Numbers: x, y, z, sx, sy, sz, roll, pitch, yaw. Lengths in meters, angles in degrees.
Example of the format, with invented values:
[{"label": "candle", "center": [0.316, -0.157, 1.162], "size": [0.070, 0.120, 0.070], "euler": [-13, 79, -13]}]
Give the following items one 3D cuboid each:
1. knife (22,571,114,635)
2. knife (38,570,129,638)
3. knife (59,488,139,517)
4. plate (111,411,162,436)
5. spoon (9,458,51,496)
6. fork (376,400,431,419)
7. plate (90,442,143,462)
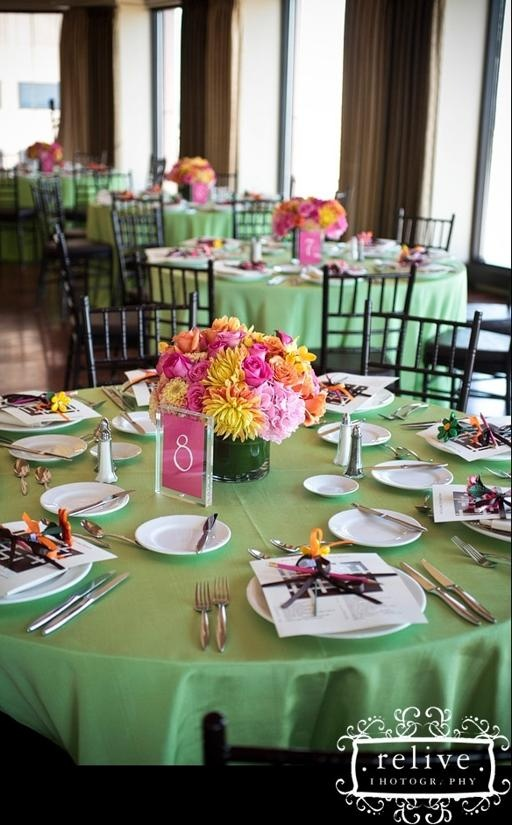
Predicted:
[{"label": "knife", "center": [-0.253, 0.255, 0.843], "size": [0.023, 0.013, 0.223], "euler": [12, 18, 15]}, {"label": "knife", "center": [-0.234, 0.254, 0.843], "size": [0.024, 0.012, 0.209], "euler": [23, 18, 12]}, {"label": "knife", "center": [-0.298, 0.168, 1.112], "size": [0.146, 0.009, 0.020], "euler": [-14, 67, -52]}, {"label": "plate", "center": [-0.309, 0.028, 1.521], "size": [0.078, 0.011, 0.079], "euler": [-12, 32, -34]}, {"label": "spoon", "center": [-0.470, 0.122, 1.255], "size": [0.041, 0.024, 0.146], "euler": [21, 10, -17]}, {"label": "fork", "center": [0.398, -0.015, 1.643], "size": [0.053, 0.036, 0.228], "euler": [11, 13, 27]}, {"label": "plate", "center": [-0.311, 0.088, 1.376], "size": [0.062, 0.013, 0.063], "euler": [7, 23, 15]}]
